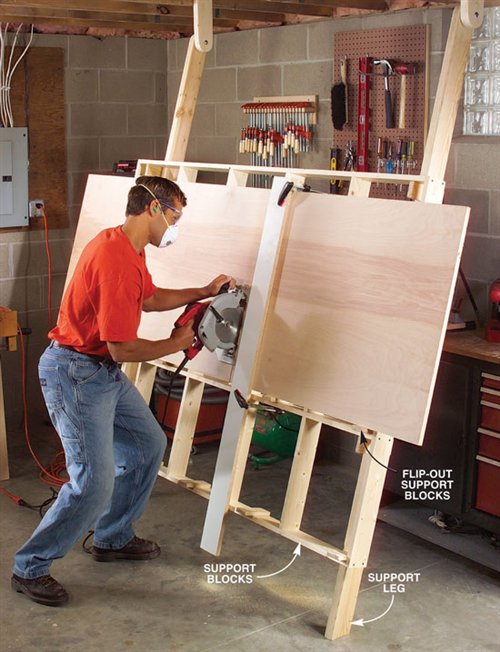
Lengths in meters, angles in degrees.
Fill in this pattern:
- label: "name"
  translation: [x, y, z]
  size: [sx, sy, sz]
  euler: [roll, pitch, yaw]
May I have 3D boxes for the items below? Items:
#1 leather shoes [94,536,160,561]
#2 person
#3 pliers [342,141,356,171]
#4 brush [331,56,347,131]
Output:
- label: "leather shoes"
  translation: [-0.562, 1.034, 2.676]
  size: [0.315, 0.128, 0.112]
  euler: [-4, 12, -10]
- label: "person"
  translation: [-0.542, 0.252, 2.295]
  size: [0.632, 1.689, 0.591]
  euler: [6, 6, 36]
- label: "pliers"
  translation: [0.631, -1.059, 3.622]
  size: [0.069, 0.177, 0.111]
  euler: [3, 5, 5]
- label: "brush"
  translation: [0.561, -1.441, 3.583]
  size: [0.087, 0.417, 0.122]
  euler: [-1, 6, -37]
